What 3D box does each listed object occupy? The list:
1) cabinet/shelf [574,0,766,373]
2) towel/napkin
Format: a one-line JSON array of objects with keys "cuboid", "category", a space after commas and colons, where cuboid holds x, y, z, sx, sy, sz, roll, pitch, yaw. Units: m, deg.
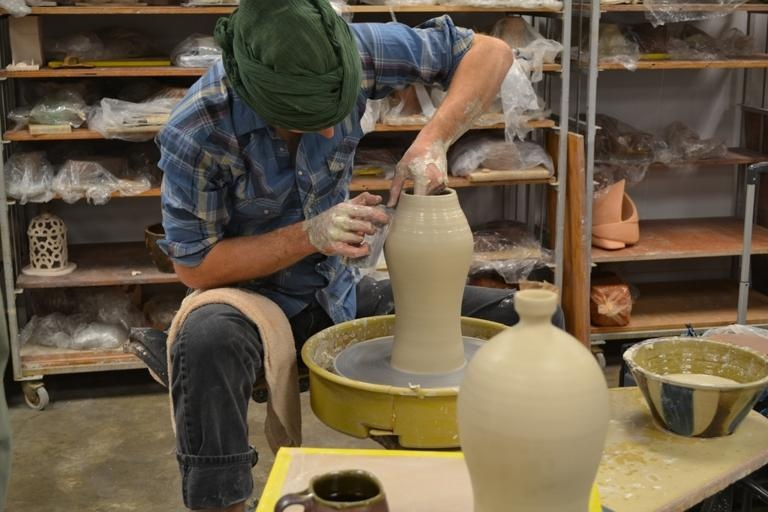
[{"cuboid": [1.700, -0.464, 4.044, 1.359, 1.950, 0.945, -1, 16, -1], "category": "cabinet/shelf"}, {"cuboid": [-0.512, 0.382, 2.358, 0.430, 0.533, 0.234, 2, 16, 10], "category": "towel/napkin"}]
